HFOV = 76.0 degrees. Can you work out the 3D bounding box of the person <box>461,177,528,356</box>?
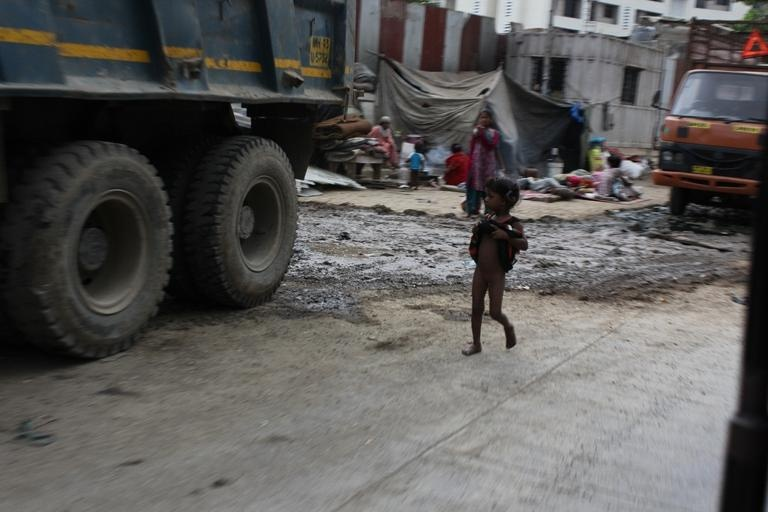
[{"bbox_3d":[0.830,0.067,3.629,0.401,1.267,0.599,3,18,12],"label":"person"}]
